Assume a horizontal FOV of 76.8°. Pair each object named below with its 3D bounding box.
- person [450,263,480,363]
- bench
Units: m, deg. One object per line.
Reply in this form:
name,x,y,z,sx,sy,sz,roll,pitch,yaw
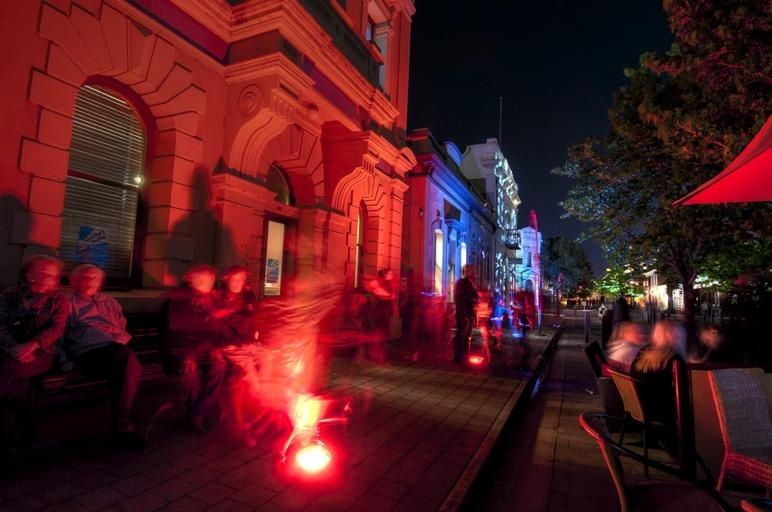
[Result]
person,1.820,1.356,11.349,0.557,2.216,0.596,5,8,9
bench,-4.160,1.796,6.876,0.599,1.009,1.579,22,2,38
